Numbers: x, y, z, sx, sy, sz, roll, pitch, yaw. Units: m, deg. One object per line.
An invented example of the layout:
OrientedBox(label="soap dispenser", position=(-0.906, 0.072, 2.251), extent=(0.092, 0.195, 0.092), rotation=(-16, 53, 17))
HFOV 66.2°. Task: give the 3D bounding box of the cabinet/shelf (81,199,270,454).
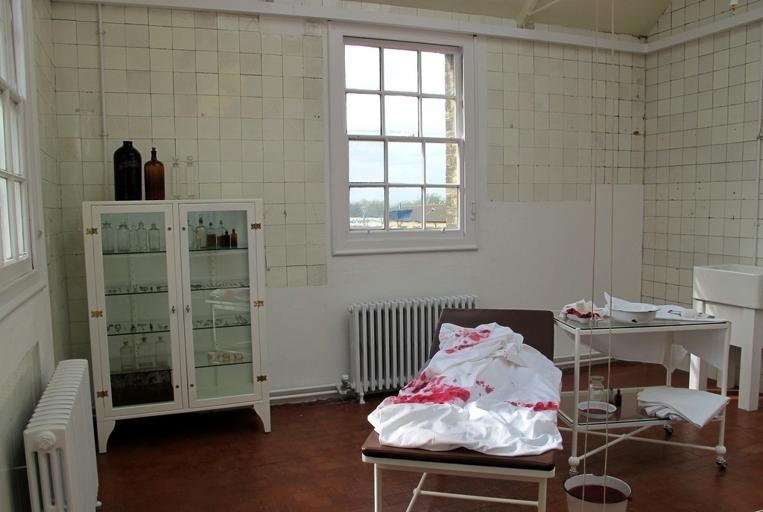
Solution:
OrientedBox(label="cabinet/shelf", position=(-1.673, 0.502, 4.885), extent=(1.345, 1.952, 0.557), rotation=(-3, 11, -19))

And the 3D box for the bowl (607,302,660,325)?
OrientedBox(label="bowl", position=(1.796, 0.412, 4.184), extent=(0.220, 0.083, 0.211), rotation=(-4, 7, 1))

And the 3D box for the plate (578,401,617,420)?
OrientedBox(label="plate", position=(1.575, 1.117, 4.249), extent=(0.195, 0.048, 0.202), rotation=(0, 7, 21))

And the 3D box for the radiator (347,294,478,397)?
OrientedBox(label="radiator", position=(0.213, 0.769, 4.912), extent=(0.880, 0.624, 0.235), rotation=(-1, 8, -17))
